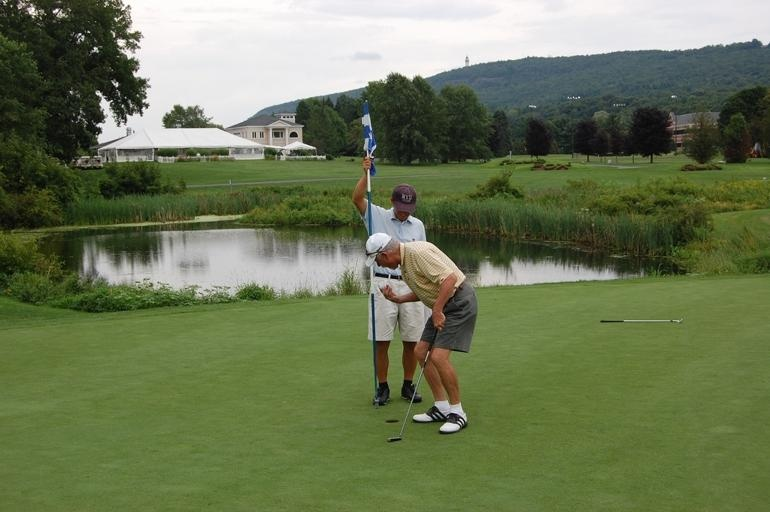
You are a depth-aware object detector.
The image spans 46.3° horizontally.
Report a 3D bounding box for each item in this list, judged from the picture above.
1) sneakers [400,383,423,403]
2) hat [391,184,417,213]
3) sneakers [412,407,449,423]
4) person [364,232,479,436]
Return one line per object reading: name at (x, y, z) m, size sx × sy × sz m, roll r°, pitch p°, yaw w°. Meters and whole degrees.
sneakers at (0.432, 2.244, 14.841) m, size 0.185 × 0.182 × 0.429 m, roll -1°, pitch -5°, yaw -14°
hat at (0.304, -0.983, 15.227) m, size 0.388 × 0.467 × 0.638 m, roll -1°, pitch 7°, yaw -1°
sneakers at (0.720, 2.498, 14.311) m, size 0.610 × 0.269 × 0.230 m, roll 1°, pitch -3°, yaw 4°
person at (0.669, 1.157, 14.226) m, size 1.435 × 3.057 × 0.767 m, roll 2°, pitch 7°, yaw 18°
